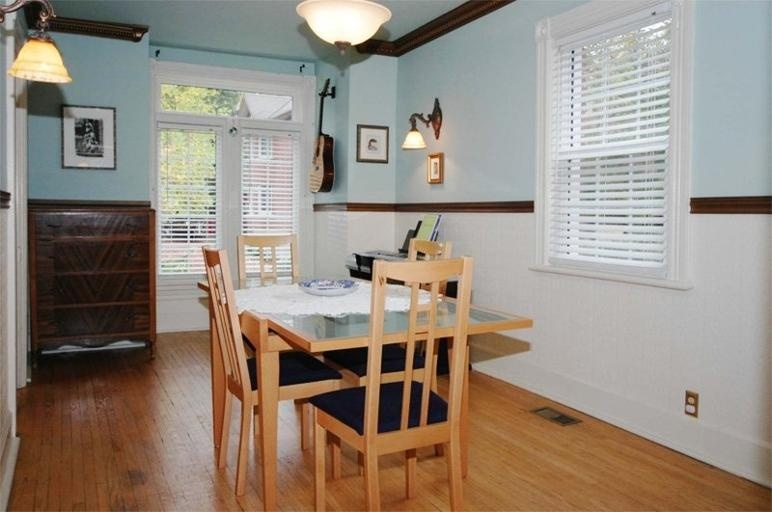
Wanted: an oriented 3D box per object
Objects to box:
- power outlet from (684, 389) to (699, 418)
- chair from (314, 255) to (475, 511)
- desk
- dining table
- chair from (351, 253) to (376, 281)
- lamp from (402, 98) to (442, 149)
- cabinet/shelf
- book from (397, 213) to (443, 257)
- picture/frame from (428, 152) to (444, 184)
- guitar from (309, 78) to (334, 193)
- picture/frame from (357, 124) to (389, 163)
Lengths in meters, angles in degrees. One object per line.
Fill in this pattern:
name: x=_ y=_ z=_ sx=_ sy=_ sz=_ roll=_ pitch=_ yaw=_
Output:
power outlet: x=1.877 y=0.908 z=3.355 sx=0.095 sy=0.159 sz=0.033 roll=12 pitch=17 yaw=40
chair: x=0.047 y=0.647 z=2.794 sx=0.853 sy=1.365 sz=0.685 roll=-2 pitch=13 yaw=-8
desk: x=0.072 y=0.383 z=4.939 sx=0.601 sy=0.800 sz=1.105 roll=2 pitch=0 yaw=-29
dining table: x=-0.366 y=0.633 z=3.158 sx=1.338 sy=0.788 sz=1.366 roll=-2 pitch=1 yaw=-27
chair: x=-0.210 y=0.091 z=4.939 sx=0.215 sy=0.203 sz=0.313 roll=-2 pitch=4 yaw=-27
lamp: x=0.356 y=-1.246 z=5.126 sx=0.346 sy=0.476 sz=0.530 roll=1 pitch=12 yaw=4
cabinet/shelf: x=-2.643 y=0.272 z=4.988 sx=1.011 sy=1.396 sz=0.540 roll=4 pitch=27 yaw=-28
book: x=0.299 y=-0.223 z=4.815 sx=0.374 sy=0.489 sz=0.527 roll=2 pitch=0 yaw=-20
picture/frame: x=0.470 y=-0.820 z=5.126 sx=0.060 sy=0.298 sz=0.234 roll=-6 pitch=14 yaw=-26
guitar: x=-0.675 y=-1.289 z=5.860 sx=0.294 sy=1.232 sz=0.523 roll=-1 pitch=13 yaw=-7
picture/frame: x=-0.151 y=-1.167 z=5.598 sx=0.437 sy=0.415 sz=0.031 roll=1 pitch=3 yaw=-23
